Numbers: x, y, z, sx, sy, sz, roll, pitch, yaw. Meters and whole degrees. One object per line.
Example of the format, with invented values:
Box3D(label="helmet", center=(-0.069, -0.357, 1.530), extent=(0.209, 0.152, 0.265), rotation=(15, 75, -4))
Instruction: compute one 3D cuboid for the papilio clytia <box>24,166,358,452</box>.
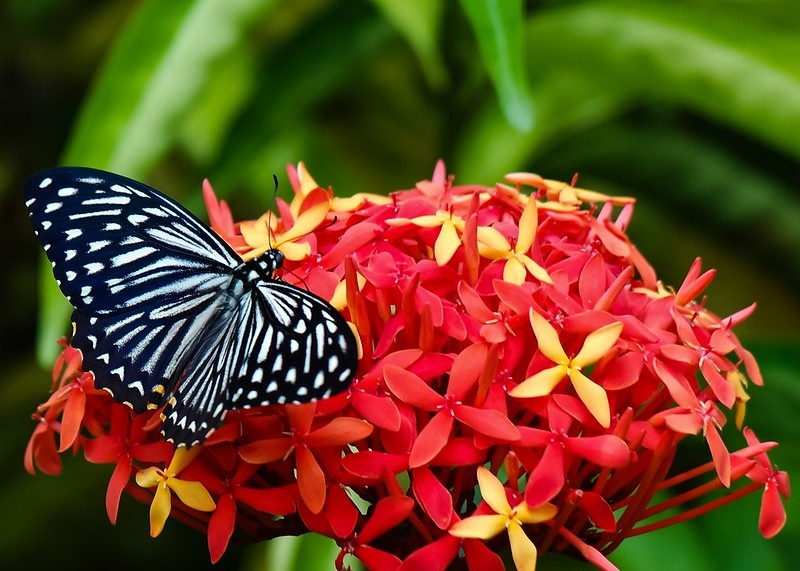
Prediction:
Box3D(label="papilio clytia", center=(-0.202, 0.036, 0.908), extent=(0.446, 0.263, 0.107), rotation=(24, -5, 28))
